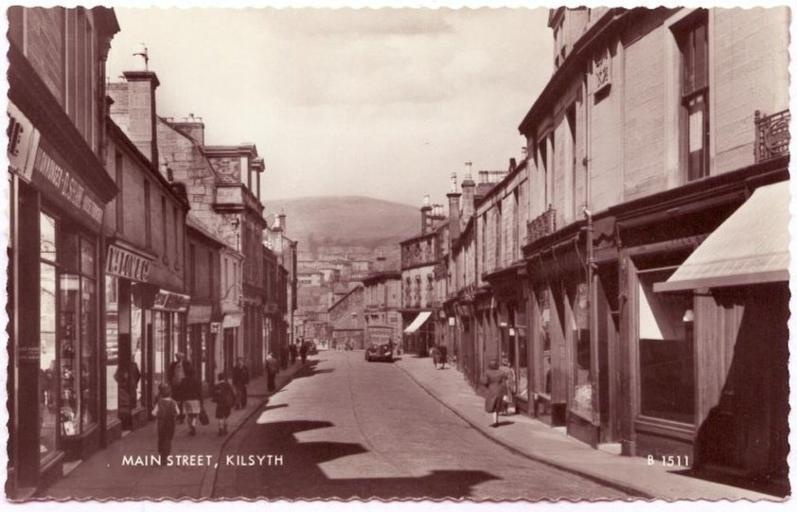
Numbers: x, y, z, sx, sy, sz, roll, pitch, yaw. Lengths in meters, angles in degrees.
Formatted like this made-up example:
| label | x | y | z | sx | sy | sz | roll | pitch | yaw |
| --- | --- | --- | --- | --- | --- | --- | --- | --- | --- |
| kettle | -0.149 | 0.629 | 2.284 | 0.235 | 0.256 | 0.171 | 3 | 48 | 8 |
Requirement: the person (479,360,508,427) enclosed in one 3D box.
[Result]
| label | x | y | z | sx | sy | sz | roll | pitch | yaw |
| --- | --- | --- | --- | --- | --- | --- | --- | --- | --- |
| person | 2.645 | 3.802 | 25.312 | 0.682 | 1.751 | 1.184 | -3 | -10 | 5 |
